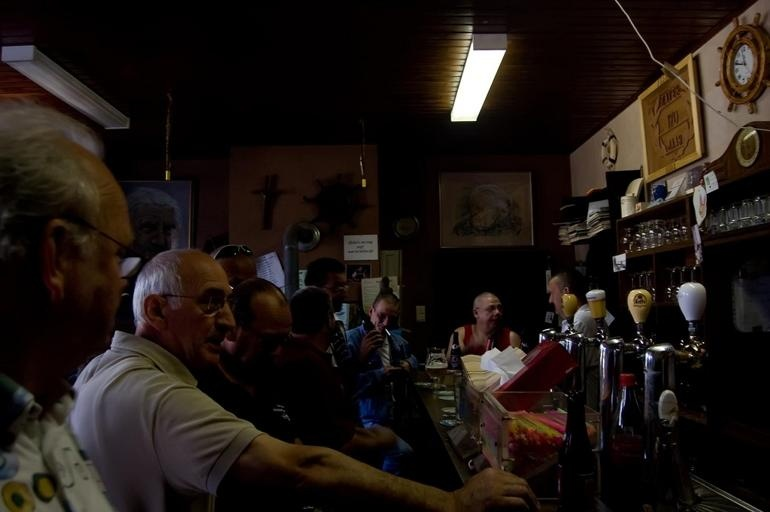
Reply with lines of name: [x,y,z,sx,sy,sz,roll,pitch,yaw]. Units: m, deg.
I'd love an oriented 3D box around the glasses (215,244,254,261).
glasses: [-0.883,-0.036,3.380,0.131,0.039,0.129,7,-35,-43]

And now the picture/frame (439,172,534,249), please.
picture/frame: [1.061,-0.441,6.307,0.745,0.622,0.029,0,-2,3]
